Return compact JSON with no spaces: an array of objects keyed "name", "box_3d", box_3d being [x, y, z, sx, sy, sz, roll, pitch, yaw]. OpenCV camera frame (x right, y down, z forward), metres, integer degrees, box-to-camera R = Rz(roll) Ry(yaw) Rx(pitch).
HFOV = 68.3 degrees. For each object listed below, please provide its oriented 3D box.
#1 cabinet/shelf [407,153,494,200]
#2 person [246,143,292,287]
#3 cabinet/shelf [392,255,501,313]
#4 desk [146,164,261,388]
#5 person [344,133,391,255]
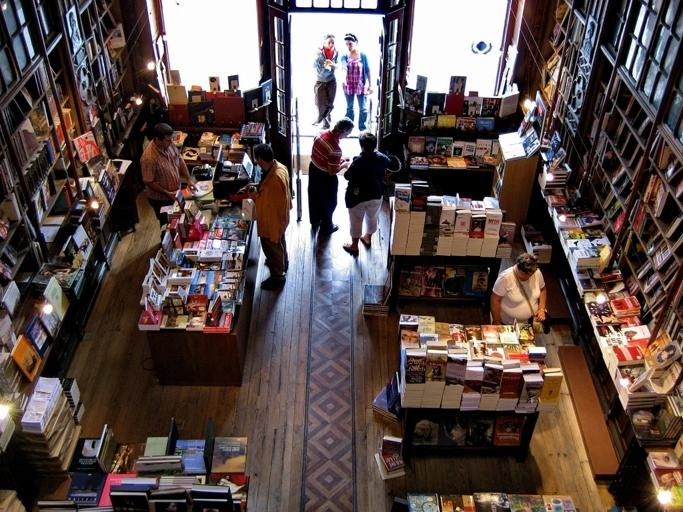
[{"name":"cabinet/shelf","box_3d":[1.808,-1.335,8.304,0.999,1.004,0.389,1,49,3]},{"name":"person","box_3d":[-1.028,-0.470,7.000,0.631,2.101,0.841,3,49,-3]},{"name":"cabinet/shelf","box_3d":[1.444,0.364,6.997,1.507,1.046,0.602,1,46,4]},{"name":"desk","box_3d":[-1.774,0.488,6.406,1.172,1.984,1.541,-3,20,-8]},{"name":"person","box_3d":[0.359,-0.994,7.641,0.674,1.915,0.649,-14,45,-17]}]
